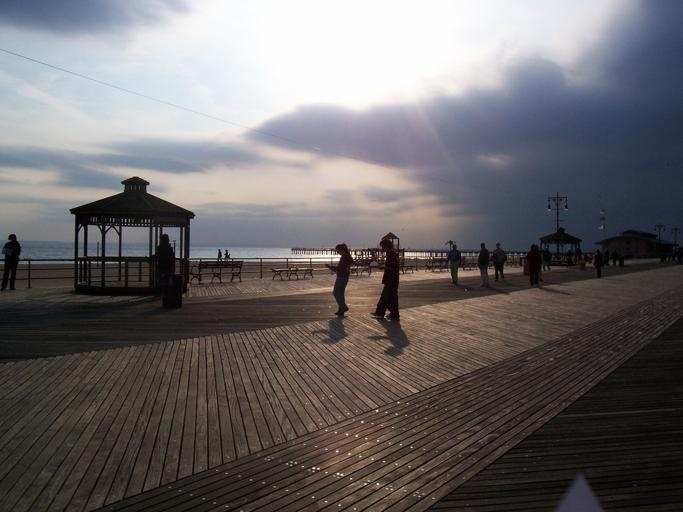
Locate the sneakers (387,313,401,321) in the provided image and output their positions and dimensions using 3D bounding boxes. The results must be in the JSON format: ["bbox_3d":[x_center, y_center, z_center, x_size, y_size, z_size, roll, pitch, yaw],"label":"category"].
[{"bbox_3d":[1.225,1.478,13.380,0.131,0.237,0.347,5,-22,-30],"label":"sneakers"}]

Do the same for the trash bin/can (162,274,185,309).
[{"bbox_3d":[-4.514,0.928,14.944,0.491,0.902,0.502,-2,8,-14],"label":"trash bin/can"}]

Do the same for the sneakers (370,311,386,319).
[{"bbox_3d":[0.869,1.433,13.561,0.328,0.224,0.115,21,2,34],"label":"sneakers"}]
